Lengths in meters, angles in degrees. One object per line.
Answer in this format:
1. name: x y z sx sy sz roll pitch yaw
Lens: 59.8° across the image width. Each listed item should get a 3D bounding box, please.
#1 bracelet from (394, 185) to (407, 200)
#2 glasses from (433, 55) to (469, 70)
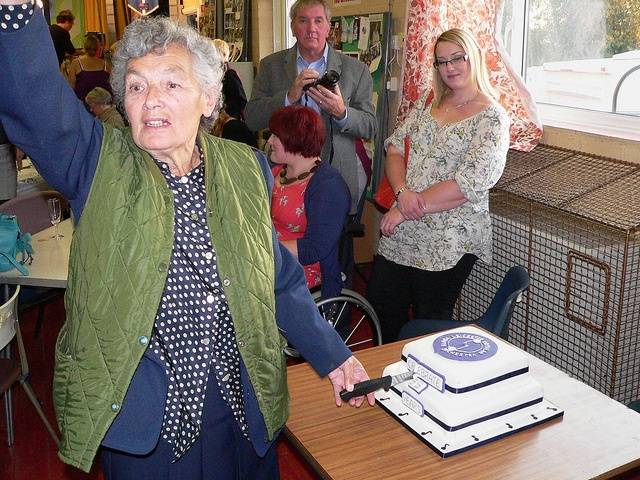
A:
1. bracelet: 0.431 -0.255 3.018 0.018 0.063 0.063 30 56 1
2. glasses: 0.672 -0.929 2.932 0.084 0.081 0.212 -21 28 -36
